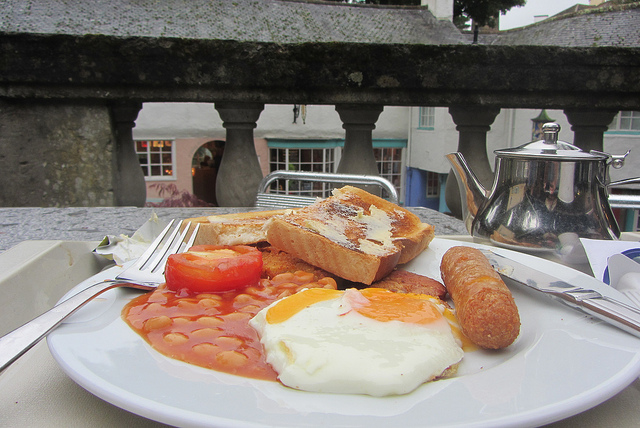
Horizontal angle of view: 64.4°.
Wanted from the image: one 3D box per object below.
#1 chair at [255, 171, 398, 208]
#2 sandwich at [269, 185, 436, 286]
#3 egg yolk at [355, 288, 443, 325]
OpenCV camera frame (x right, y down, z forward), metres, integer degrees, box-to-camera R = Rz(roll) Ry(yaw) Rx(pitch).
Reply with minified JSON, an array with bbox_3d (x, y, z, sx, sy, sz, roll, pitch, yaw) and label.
[{"bbox_3d":[0.027,-0.115,2.113,0.699,0.173,0.378,-2,6,-17],"label":"chair"},{"bbox_3d":[0.079,0.039,1.278,0.287,0.078,0.312,31,34,20],"label":"sandwich"},{"bbox_3d":[0.145,0.162,0.961,0.143,0.051,0.111,-3,4,-14],"label":"egg yolk"}]
